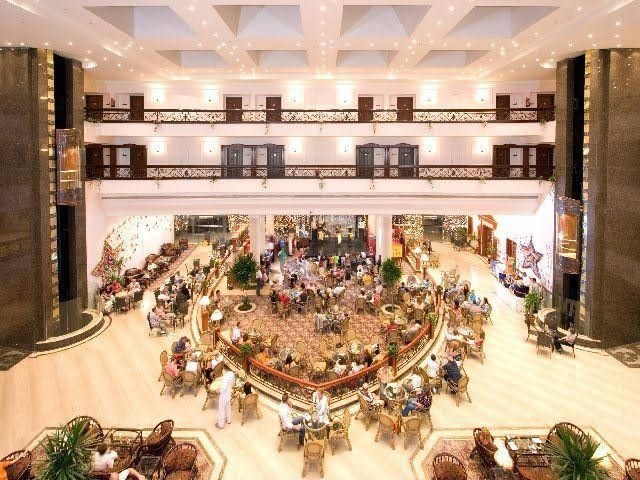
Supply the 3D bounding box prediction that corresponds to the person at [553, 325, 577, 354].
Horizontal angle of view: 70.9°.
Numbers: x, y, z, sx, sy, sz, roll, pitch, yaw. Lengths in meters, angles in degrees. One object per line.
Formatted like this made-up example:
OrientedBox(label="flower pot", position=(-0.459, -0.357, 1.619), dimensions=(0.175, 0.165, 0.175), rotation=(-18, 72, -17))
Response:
OrientedBox(label="person", position=(10.356, 4.166, 19.039), dimensions=(0.854, 1.033, 1.131), rotation=(3, 8, 33))
